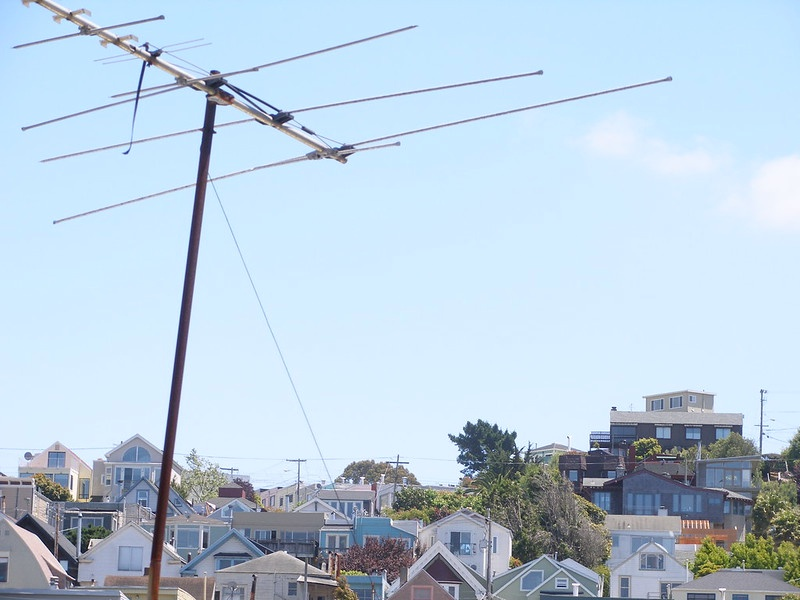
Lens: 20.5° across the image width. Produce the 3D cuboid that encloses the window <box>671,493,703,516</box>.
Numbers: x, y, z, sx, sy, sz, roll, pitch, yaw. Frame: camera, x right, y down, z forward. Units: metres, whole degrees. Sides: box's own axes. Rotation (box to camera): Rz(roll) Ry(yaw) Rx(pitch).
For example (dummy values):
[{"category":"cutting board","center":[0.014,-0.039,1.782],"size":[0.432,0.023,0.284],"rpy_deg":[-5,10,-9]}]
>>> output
[{"category":"window","center":[28.379,20.267,217.783],"size":[3.060,2.195,1.656],"rpy_deg":[-1,-1,8]}]

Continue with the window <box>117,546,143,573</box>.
[{"category":"window","center":[-23.103,22.258,189.553],"size":[1.953,1.944,1.948],"rpy_deg":[3,-2,-34]}]

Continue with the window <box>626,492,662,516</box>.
[{"category":"window","center":[24.043,20.369,218.602],"size":[3.255,2.492,1.846],"rpy_deg":[1,-8,1]}]

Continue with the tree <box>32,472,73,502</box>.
[{"category":"tree","center":[-35.358,19.588,224.034],"size":[3.070,1.868,3.255],"rpy_deg":[6,3,-3]}]

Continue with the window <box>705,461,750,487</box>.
[{"category":"window","center":[33.073,17.955,223.573],"size":[4.331,3.236,2.388],"rpy_deg":[0,-8,5]}]

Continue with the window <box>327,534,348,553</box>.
[{"category":"window","center":[-5.512,22.095,199.356],"size":[1.502,1.589,0.121],"rpy_deg":[1,-10,-5]}]

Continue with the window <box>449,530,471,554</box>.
[{"category":"window","center":[5.573,22.113,200.821],"size":[1.927,2.203,0.121],"rpy_deg":[-1,2,3]}]
